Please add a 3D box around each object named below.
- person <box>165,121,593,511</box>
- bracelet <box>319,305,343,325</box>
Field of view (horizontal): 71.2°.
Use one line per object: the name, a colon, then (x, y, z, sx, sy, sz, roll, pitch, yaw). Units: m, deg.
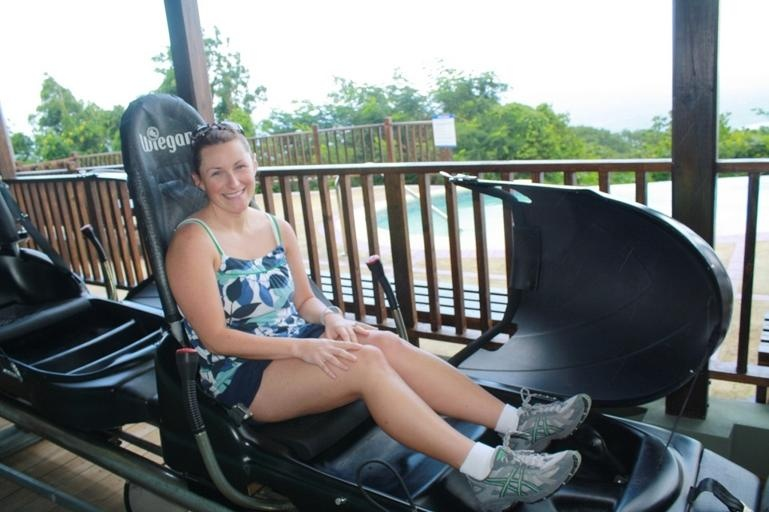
person: (-0.235, 0.046, 2.399, 2.017, 1.360, 0.836, 10, 21, 15)
bracelet: (-0.206, 0.227, 2.118, 0.058, 0.078, 0.074, 1, 6, -38)
